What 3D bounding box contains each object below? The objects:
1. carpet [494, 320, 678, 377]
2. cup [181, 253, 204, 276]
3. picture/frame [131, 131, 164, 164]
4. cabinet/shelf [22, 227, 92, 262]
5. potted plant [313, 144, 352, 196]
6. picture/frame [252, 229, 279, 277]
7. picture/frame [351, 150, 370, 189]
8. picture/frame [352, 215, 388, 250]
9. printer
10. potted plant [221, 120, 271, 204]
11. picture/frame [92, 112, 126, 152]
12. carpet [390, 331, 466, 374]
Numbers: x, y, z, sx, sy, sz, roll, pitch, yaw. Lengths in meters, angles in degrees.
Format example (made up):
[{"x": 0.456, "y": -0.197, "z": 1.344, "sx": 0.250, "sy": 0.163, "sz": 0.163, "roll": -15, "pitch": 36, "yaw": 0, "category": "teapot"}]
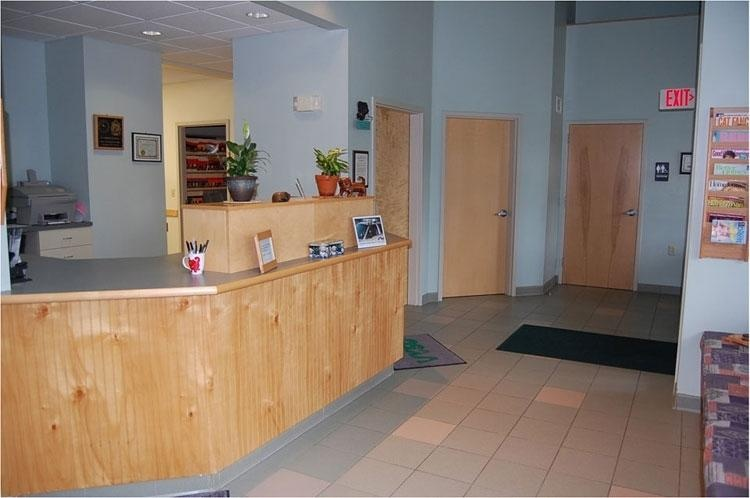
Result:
[{"x": 2.327, "y": 1.043, "z": 5.504, "sx": 1.726, "sy": 0.045, "sz": 1.000, "roll": 5, "pitch": 14, "yaw": 21, "category": "carpet"}, {"x": -1.204, "y": 0.099, "z": 3.429, "sx": 0.184, "sy": 0.157, "sz": 0.114, "roll": -1, "pitch": 10, "yaw": -13, "category": "cup"}, {"x": -2.973, "y": -1.327, "z": 6.573, "sx": 0.037, "sy": 0.394, "sz": 0.498, "roll": 0, "pitch": 3, "yaw": 32, "category": "picture/frame"}, {"x": -3.715, "y": 0.004, "z": 5.893, "sx": 0.404, "sy": 0.563, "sz": 0.675, "roll": 6, "pitch": 8, "yaw": 21, "category": "cabinet/shelf"}, {"x": -0.388, "y": -0.656, "z": 4.327, "sx": 0.242, "sy": 0.385, "sz": 0.365, "roll": 4, "pitch": 14, "yaw": 15, "category": "potted plant"}, {"x": -0.768, "y": 0.026, "z": 3.490, "sx": 0.046, "sy": 0.282, "sz": 0.312, "roll": -9, "pitch": 7, "yaw": 16, "category": "picture/frame"}, {"x": -0.154, "y": -0.891, "z": 5.620, "sx": 0.067, "sy": 0.423, "sz": 0.365, "roll": 6, "pitch": 15, "yaw": 21, "category": "picture/frame"}, {"x": -0.043, "y": -0.159, "z": 4.328, "sx": 0.338, "sy": 0.265, "sz": 0.024, "roll": -3, "pitch": 5, "yaw": 40, "category": "picture/frame"}, {"x": -3.744, "y": -0.503, "z": 5.716, "sx": 0.658, "sy": 0.423, "sz": 0.332, "roll": -8, "pitch": 16, "yaw": -32, "category": "printer"}, {"x": -0.907, "y": -0.621, "z": 3.690, "sx": 0.375, "sy": 0.534, "sz": 0.357, "roll": 3, "pitch": 8, "yaw": -17, "category": "potted plant"}, {"x": -3.217, "y": -1.434, "z": 6.188, "sx": 0.465, "sy": 0.406, "sz": 0.051, "roll": 8, "pitch": 9, "yaw": 19, "category": "picture/frame"}, {"x": 0.468, "y": 1.050, "z": 5.342, "sx": 0.753, "sy": 0.027, "sz": 0.827, "roll": -2, "pitch": 13, "yaw": -12, "category": "carpet"}]
